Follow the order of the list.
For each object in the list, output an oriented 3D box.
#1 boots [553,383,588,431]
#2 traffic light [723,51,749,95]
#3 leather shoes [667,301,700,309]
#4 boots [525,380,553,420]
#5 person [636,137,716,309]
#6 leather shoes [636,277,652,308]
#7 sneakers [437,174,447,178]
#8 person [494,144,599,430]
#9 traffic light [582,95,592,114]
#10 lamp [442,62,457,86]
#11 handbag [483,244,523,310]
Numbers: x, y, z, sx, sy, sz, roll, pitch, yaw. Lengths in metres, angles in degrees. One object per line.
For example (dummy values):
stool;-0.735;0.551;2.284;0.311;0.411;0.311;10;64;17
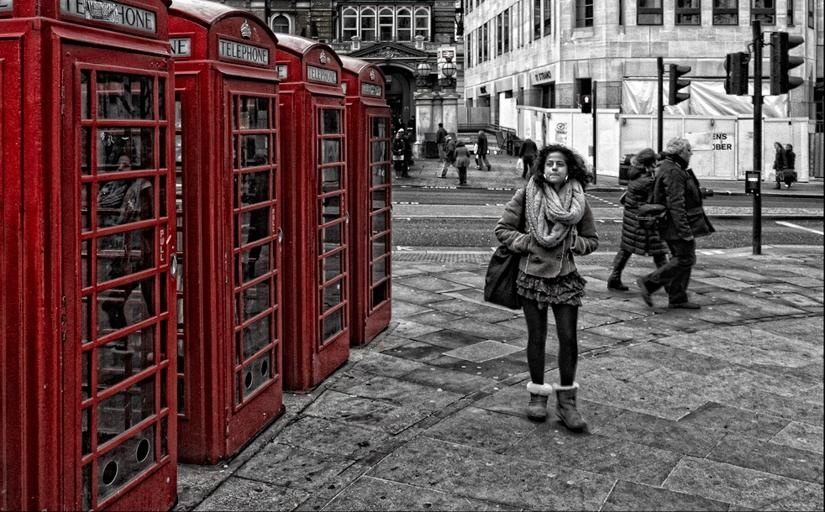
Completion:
boots;1.377;1.310;6.521;0.165;0.351;0.468;-2;7;-18
traffic light;7.129;-4.091;16.423;0.499;0.986;2.338;4;11;22
leather shoes;3.735;0.679;10.318;0.403;0.169;0.155;-1;0;7
boots;1.123;1.285;6.689;0.196;0.286;0.454;5;7;12
person;3.634;-0.471;10.503;0.969;2.333;1.053;-7;6;-15
leather shoes;3.210;0.491;10.385;0.180;0.453;0.147;-4;-8;18
sneakers;1.221;-3.539;32.548;0.370;0.163;0.127;17;31;32
person;1.183;0.234;6.593;0.807;2.416;0.640;2;9;15
traffic light;6.982;-6.243;30.197;0.313;0.682;0.741;1;10;4
lamp;1.888;-9.864;39.860;0.948;1.433;0.984;-1;4;-2
handbag;0.839;0.142;6.657;0.357;0.674;0.187;13;27;4
